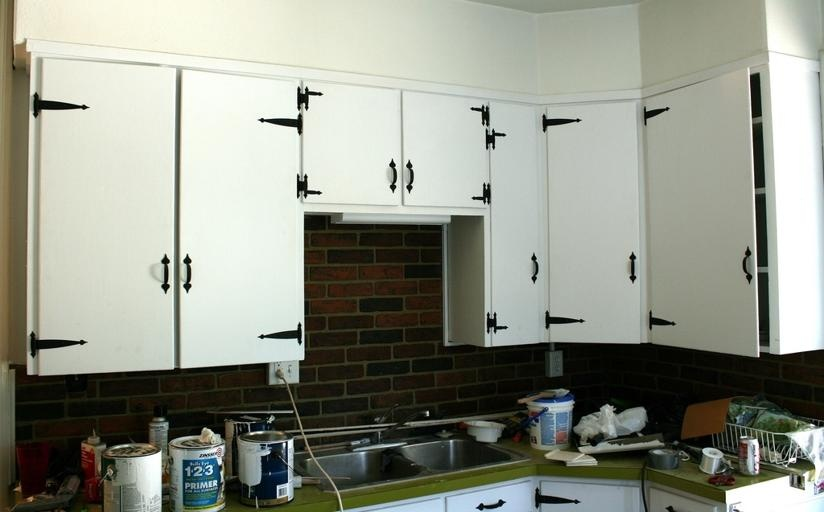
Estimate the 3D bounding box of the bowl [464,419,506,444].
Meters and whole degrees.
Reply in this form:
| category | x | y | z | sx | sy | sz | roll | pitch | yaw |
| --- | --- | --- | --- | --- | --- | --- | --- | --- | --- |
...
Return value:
| category | x | y | z | sx | sy | sz | roll | pitch | yaw |
| --- | --- | --- | --- | --- | --- | --- | --- | --- | --- |
| bowl | 0.438 | 1.035 | 4.196 | 0.149 | 0.072 | 0.145 | 2 | -3 | 0 |

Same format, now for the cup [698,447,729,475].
| category | x | y | z | sx | sy | sz | roll | pitch | yaw |
| --- | --- | --- | --- | --- | --- | --- | --- | --- | --- |
| cup | 1.590 | 1.086 | 3.706 | 0.135 | 0.102 | 0.107 | 2 | -2 | -3 |

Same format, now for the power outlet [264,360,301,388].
| category | x | y | z | sx | sy | sz | roll | pitch | yaw |
| --- | --- | --- | --- | --- | --- | --- | --- | --- | --- |
| power outlet | -0.752 | 0.675 | 4.039 | 0.221 | 0.186 | 0.070 | 1 | -1 | -20 |

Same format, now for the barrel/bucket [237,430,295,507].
| category | x | y | z | sx | sy | sz | roll | pitch | yaw |
| --- | --- | --- | --- | --- | --- | --- | --- | --- | --- |
| barrel/bucket | -0.757 | 1.067 | 3.646 | 0.312 | 0.308 | 0.318 | 0 | 1 | 0 |

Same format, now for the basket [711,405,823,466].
| category | x | y | z | sx | sy | sz | roll | pitch | yaw |
| --- | --- | --- | --- | --- | --- | --- | --- | --- | --- |
| basket | 1.921 | 0.934 | 3.807 | 0.447 | 0.148 | 0.294 | 0 | -2 | 40 |

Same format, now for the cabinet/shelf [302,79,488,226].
| category | x | y | z | sx | sy | sz | roll | pitch | yaw |
| --- | --- | --- | --- | --- | --- | --- | --- | --- | --- |
| cabinet/shelf | -0.050 | -0.676 | 4.170 | 1.210 | 0.723 | 0.423 | 3 | 25 | 3 |

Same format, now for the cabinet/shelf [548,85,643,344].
| category | x | y | z | sx | sy | sz | roll | pitch | yaw |
| --- | --- | --- | --- | --- | --- | --- | --- | --- | --- |
| cabinet/shelf | 1.091 | -0.162 | 4.290 | 0.623 | 1.510 | 0.218 | 2 | 17 | 24 |

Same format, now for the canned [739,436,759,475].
| category | x | y | z | sx | sy | sz | roll | pitch | yaw |
| --- | --- | --- | --- | --- | --- | --- | --- | --- | --- |
| canned | 1.770 | 1.051 | 3.690 | 0.106 | 0.186 | 0.107 | -3 | -5 | 28 |

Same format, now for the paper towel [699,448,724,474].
| category | x | y | z | sx | sy | sz | roll | pitch | yaw |
| --- | --- | --- | --- | --- | --- | --- | --- | --- | --- |
| paper towel | 1.579 | 1.084 | 3.708 | 0.127 | 0.095 | 0.100 | 4 | -4 | -4 |
